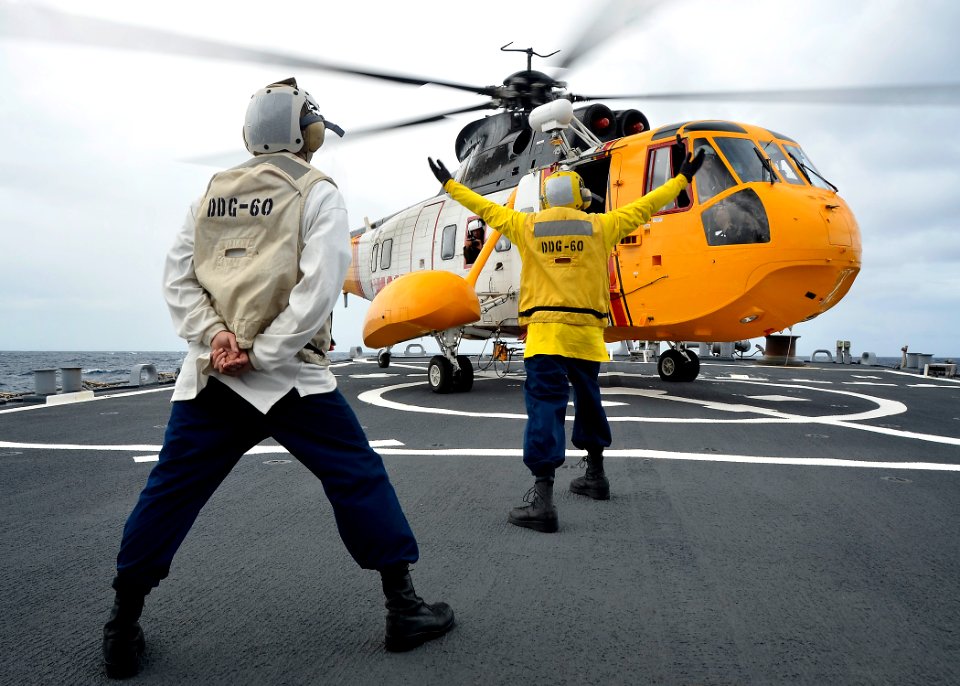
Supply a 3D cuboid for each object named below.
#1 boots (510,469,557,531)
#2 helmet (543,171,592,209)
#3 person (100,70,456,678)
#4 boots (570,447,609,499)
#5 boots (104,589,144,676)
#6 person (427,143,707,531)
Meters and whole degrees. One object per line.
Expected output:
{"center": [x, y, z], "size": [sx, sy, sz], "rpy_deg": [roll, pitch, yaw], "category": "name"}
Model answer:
{"center": [0.340, 0.983, 3.748], "size": [0.308, 0.299, 0.233], "rpy_deg": [0, 5, 3], "category": "boots"}
{"center": [0.648, -1.116, 4.444], "size": [0.323, 0.262, 0.357], "rpy_deg": [-4, -5, 13], "category": "helmet"}
{"center": [-0.894, 0.041, 2.612], "size": [1.316, 2.454, 0.612], "rpy_deg": [-1, 5, -8], "category": "person"}
{"center": [0.802, 0.941, 4.408], "size": [0.188, 0.348, 0.373], "rpy_deg": [3, -6, -27], "category": "boots"}
{"center": [-1.408, 1.143, 2.401], "size": [0.148, 0.288, 0.185], "rpy_deg": [-3, 6, -30], "category": "boots"}
{"center": [0.540, -0.062, 4.267], "size": [0.874, 2.314, 1.391], "rpy_deg": [4, 7, 43], "category": "person"}
